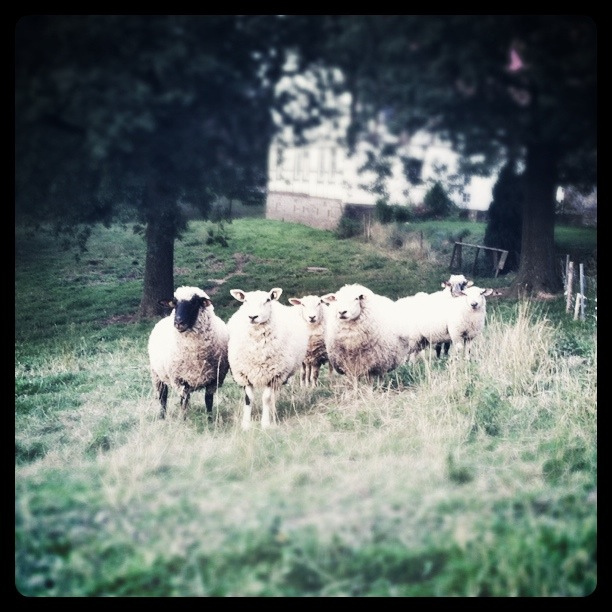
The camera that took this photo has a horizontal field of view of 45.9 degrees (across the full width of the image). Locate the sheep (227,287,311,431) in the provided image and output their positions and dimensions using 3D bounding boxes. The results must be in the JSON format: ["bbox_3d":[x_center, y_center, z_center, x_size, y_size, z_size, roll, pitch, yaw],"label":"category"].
[{"bbox_3d":[-0.339,0.445,6.046,0.543,1.156,1.183,4,1,9],"label":"sheep"}]

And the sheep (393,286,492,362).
[{"bbox_3d":[1.162,0.160,6.402,0.894,0.705,0.455,-6,3,15],"label":"sheep"}]

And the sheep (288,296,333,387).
[{"bbox_3d":[0.170,0.384,6.380,0.242,0.634,0.670,19,9,42],"label":"sheep"}]

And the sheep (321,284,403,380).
[{"bbox_3d":[0.505,0.228,6.431,0.462,0.778,0.890,-10,-3,23],"label":"sheep"}]

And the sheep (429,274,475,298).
[{"bbox_3d":[1.241,-0.164,6.130,0.153,0.211,0.355,4,3,1],"label":"sheep"}]

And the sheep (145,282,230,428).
[{"bbox_3d":[-0.944,0.465,6.115,0.532,1.141,1.251,-5,-6,-14],"label":"sheep"}]
